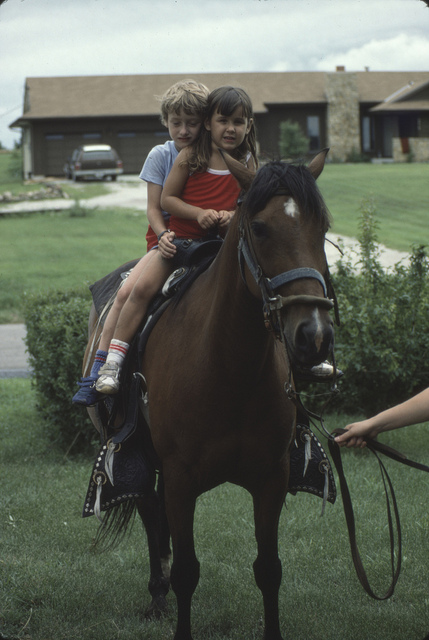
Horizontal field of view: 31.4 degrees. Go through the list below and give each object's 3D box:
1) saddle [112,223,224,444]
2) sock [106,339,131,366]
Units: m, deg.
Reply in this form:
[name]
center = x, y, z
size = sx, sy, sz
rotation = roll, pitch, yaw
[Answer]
[saddle]
center = -0.288, 0.039, 4.181
size = 0.554, 1.158, 0.591
rotation = -7, 22, -27
[sock]
center = -0.528, 0.186, 4.240
size = 0.094, 0.132, 0.090
rotation = 30, -22, -10
